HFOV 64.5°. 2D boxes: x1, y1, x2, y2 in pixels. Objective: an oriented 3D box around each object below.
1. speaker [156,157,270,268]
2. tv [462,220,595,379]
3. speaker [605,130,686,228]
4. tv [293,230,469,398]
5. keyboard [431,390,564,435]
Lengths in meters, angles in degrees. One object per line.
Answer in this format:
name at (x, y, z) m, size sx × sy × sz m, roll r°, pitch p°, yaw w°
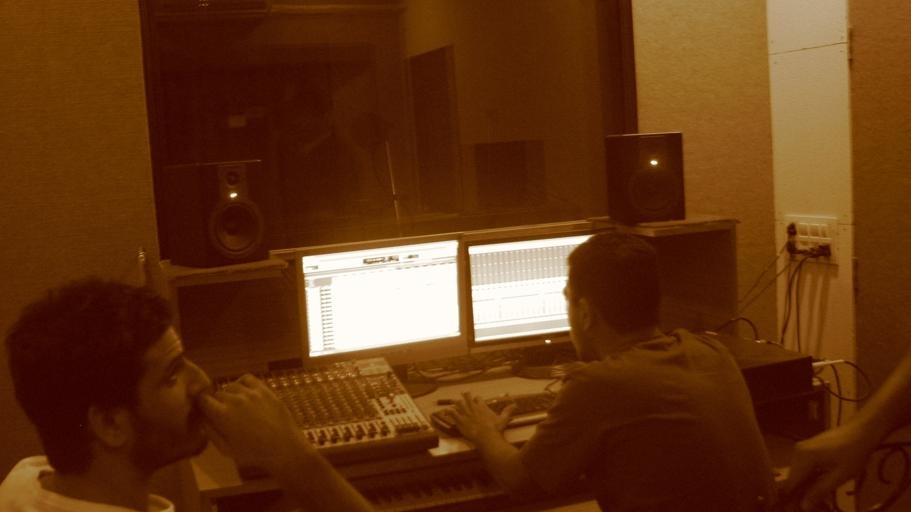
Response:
speaker at (-1.121, -0.194, 3.352) m, size 0.299 × 0.482 × 0.545 m, roll 4°, pitch 13°, yaw 32°
tv at (0.336, 0.201, 3.361) m, size 0.775 × 0.701 × 0.277 m, roll -4°, pitch -5°, yaw -10°
speaker at (0.933, -0.413, 3.691) m, size 0.421 × 0.472 × 0.305 m, roll -11°, pitch 16°, yaw -5°
tv at (-0.341, 0.275, 3.307) m, size 0.802 × 0.679 × 0.246 m, roll -5°, pitch 1°, yaw -14°
keyboard at (0.175, 0.617, 3.102) m, size 0.484 × 0.060 × 0.238 m, roll -4°, pitch 6°, yaw -17°
